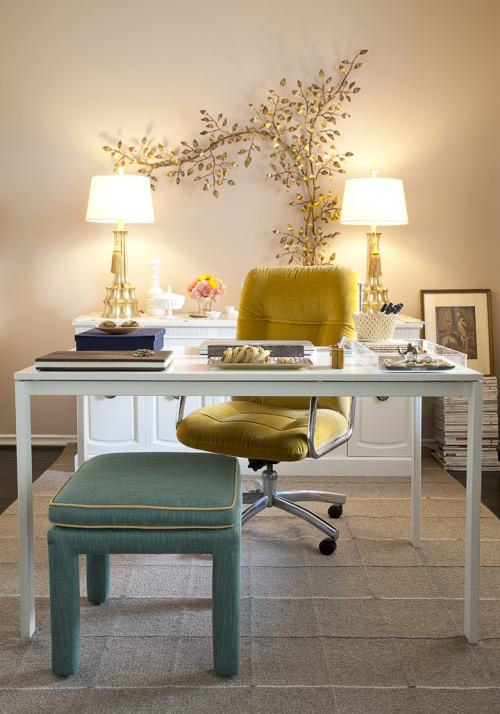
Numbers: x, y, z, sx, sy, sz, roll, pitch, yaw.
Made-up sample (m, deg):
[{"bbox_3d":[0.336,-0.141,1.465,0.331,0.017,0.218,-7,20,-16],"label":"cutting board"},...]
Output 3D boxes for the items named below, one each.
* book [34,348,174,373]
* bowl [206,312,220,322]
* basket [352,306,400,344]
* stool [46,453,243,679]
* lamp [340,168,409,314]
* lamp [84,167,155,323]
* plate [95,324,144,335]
[{"bbox_3d":[-0.349,0.007,1.454,0.301,0.046,0.193,0,4,-1],"label":"book"},{"bbox_3d":[-0.182,-0.199,2.968,0.056,0.035,0.056,-3,1,0],"label":"bowl"},{"bbox_3d":[0.420,-0.107,1.983,0.145,0.105,0.118,0,0,-1],"label":"basket"},{"bbox_3d":[-0.232,0.474,1.449,0.415,0.420,0.461,0,4,-3],"label":"stool"},{"bbox_3d":[0.611,-0.588,2.984,0.302,0.714,0.473,0,4,9],"label":"lamp"},{"bbox_3d":[-0.643,-0.583,3.014,0.306,0.782,0.448,-1,4,-8],"label":"lamp"},{"bbox_3d":[-0.362,-0.074,1.609,0.119,0.022,0.102,0,4,-4],"label":"plate"}]
